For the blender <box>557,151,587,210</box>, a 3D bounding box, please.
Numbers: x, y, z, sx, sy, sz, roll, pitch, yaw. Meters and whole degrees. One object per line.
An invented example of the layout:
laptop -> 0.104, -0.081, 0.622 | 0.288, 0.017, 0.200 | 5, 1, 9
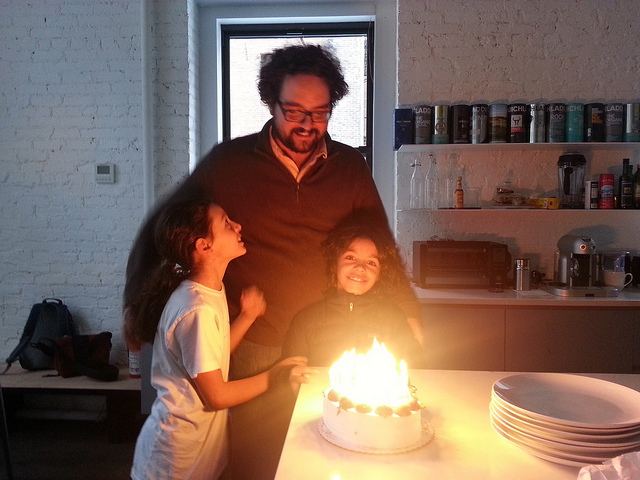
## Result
blender -> 1.848, -0.427, 4.197 | 0.249, 0.396, 0.217 | 5, -5, -25

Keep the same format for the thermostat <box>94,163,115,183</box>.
thermostat -> -1.596, -0.505, 4.271 | 0.140, 0.144, 0.055 | 0, -1, 0

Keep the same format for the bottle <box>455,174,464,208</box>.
bottle -> 1.010, -0.361, 4.163 | 0.065, 0.242, 0.209 | 1, 2, 13

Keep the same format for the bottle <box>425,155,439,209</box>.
bottle -> 0.824, -0.437, 4.231 | 0.102, 0.385, 0.056 | 1, 2, 11

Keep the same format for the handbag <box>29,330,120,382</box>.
handbag -> -1.634, 0.819, 4.048 | 0.635, 0.278, 0.502 | 2, -2, 27

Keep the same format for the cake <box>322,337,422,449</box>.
cake -> 0.228, 0.654, 2.257 | 0.364, 0.272, 0.342 | -5, -13, 37

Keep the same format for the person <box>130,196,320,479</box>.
person -> -0.493, 0.457, 2.634 | 0.732, 1.308, 0.251 | 1, 2, 1

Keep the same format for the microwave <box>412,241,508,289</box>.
microwave -> 0.951, 0.171, 3.911 | 0.486, 0.303, 0.359 | 0, -1, 1

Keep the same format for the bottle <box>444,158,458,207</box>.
bottle -> 0.959, -0.428, 4.224 | 0.090, 0.358, 0.031 | 1, 2, 9

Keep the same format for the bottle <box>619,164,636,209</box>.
bottle -> 2.177, -0.381, 4.074 | 0.103, 0.311, 0.201 | 1, 2, 26

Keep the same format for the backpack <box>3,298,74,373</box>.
backpack -> -1.974, 0.676, 4.126 | 0.468, 0.481, 0.390 | 0, 2, -6

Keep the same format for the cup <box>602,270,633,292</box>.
cup -> 2.099, 0.272, 3.978 | 0.264, 0.142, 0.145 | 0, 2, -12
